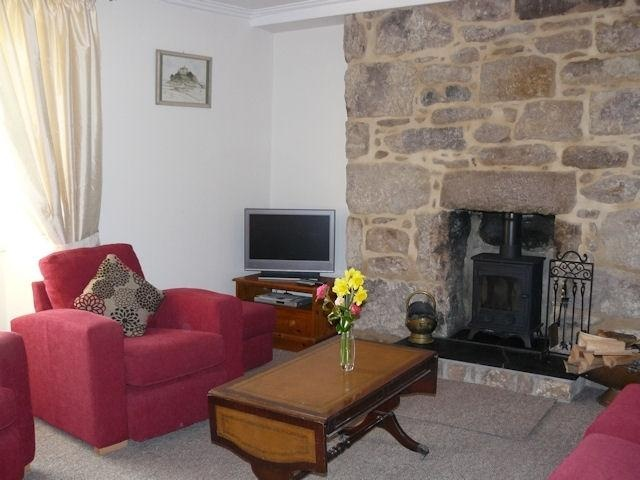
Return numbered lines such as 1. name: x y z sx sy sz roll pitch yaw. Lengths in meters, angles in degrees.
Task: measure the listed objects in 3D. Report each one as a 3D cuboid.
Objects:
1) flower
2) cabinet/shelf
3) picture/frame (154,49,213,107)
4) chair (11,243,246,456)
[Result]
1. flower: 0.156 0.440 2.647 0.299 0.496 0.255 4 -6 -37
2. cabinet/shelf: -0.302 0.710 4.753 0.769 0.555 0.446 6 7 24
3. picture/frame: -1.276 -1.524 4.584 0.491 0.445 0.023 5 13 2
4. chair: -1.189 0.619 3.270 1.168 1.161 1.278 1 3 37
